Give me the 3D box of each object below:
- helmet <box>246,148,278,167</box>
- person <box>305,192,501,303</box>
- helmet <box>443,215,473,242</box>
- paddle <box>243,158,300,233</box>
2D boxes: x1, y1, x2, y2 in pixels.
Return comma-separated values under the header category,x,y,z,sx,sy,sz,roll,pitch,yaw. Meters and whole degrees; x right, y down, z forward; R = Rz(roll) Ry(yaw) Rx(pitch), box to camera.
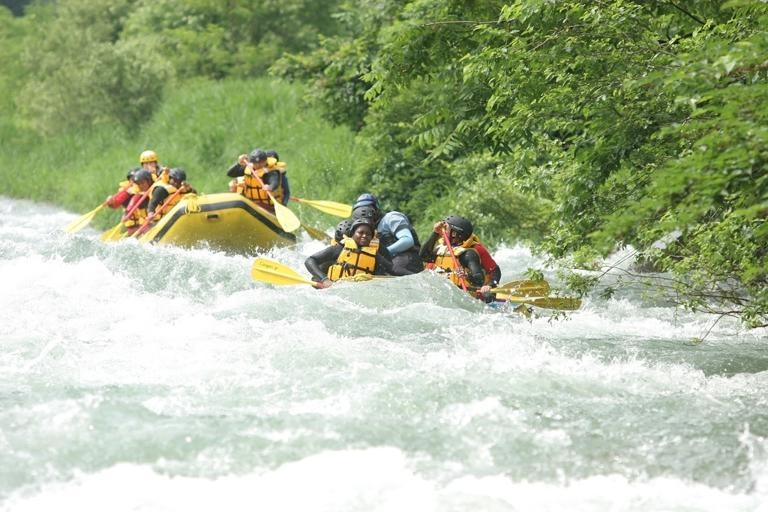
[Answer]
category,x,y,z,sx,sy,sz,roll,pitch,yaw
helmet,-2.186,-1.796,14.932,0.361,0.172,0.483,4,1,26
person,0.426,0.067,11.327,2.002,0.916,1.444,21,16,-8
helmet,0.990,-0.377,11.028,0.358,0.301,0.300,29,13,12
paddle,-2.012,-1.131,14.575,0.420,0.130,2.768,-19,40,-16
